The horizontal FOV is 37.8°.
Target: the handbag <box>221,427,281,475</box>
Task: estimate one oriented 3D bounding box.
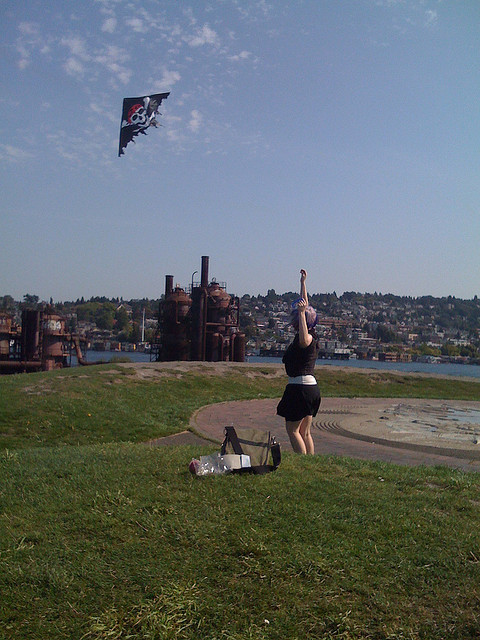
[{"bbox_3d":[0.156,1.477,8.558,0.668,0.605,0.244,-14,-11,28],"label":"handbag"}]

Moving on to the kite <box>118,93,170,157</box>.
[{"bbox_3d":[-2.104,-4.134,14.184,1.216,0.469,1.535,-36,-7,-7],"label":"kite"}]

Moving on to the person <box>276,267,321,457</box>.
[{"bbox_3d":[0.757,0.568,8.797,0.520,1.800,1.421,2,-1,5],"label":"person"}]
